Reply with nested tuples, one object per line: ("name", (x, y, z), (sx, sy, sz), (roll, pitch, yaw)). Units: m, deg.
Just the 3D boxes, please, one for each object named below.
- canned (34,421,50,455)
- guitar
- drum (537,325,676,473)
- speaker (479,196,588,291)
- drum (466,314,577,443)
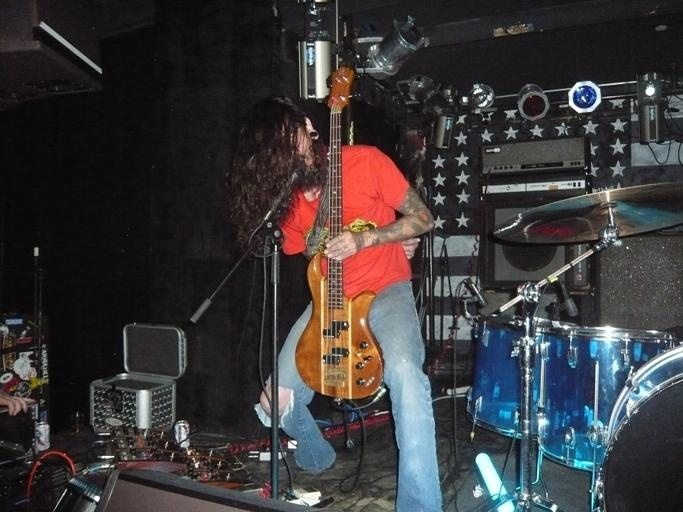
("canned", (-2.119, 1.290, 5.297), (0.113, 0.199, 0.112), (-2, -2, -30))
("guitar", (-0.012, -0.170, 4.693), (0.554, 2.114, 0.313), (-4, -2, 32))
("drum", (1.670, 0.929, 4.862), (0.865, 0.833, 0.874), (5, -8, -26))
("speaker", (1.554, -0.078, 5.967), (0.779, 0.823, 0.461), (-3, -8, 26))
("drum", (1.156, 0.801, 5.085), (0.737, 0.725, 0.756), (3, -5, 5))
